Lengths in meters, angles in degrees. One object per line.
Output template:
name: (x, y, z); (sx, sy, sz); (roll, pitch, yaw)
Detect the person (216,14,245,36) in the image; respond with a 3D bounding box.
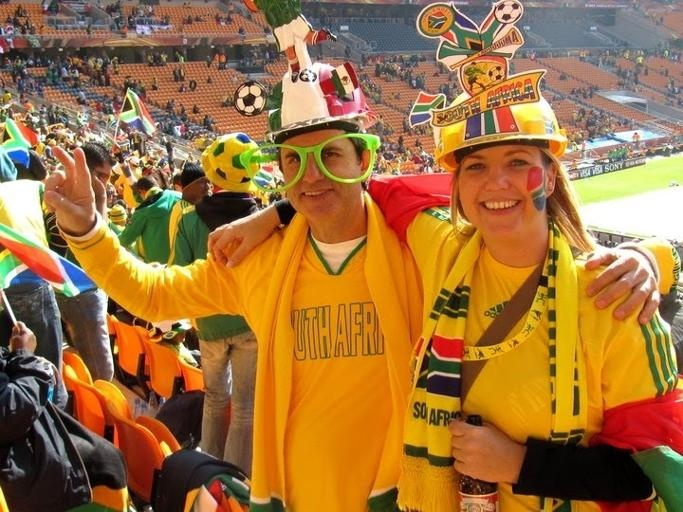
person: (-4.956, -10.285, 32.631); (1.202, 0.306, 1.722); (5, 41, -19)

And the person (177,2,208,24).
person: (-6.438, -10.488, 31.722); (1.482, 0.410, 1.494); (8, 42, -17)

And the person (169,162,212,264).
person: (-1.030, -0.282, 5.034); (0.271, 0.868, 0.237); (7, 43, -5)

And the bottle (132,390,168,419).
bottle: (-1.362, 1.066, 5.257); (0.207, 0.222, 0.056); (-6, -27, 33)
